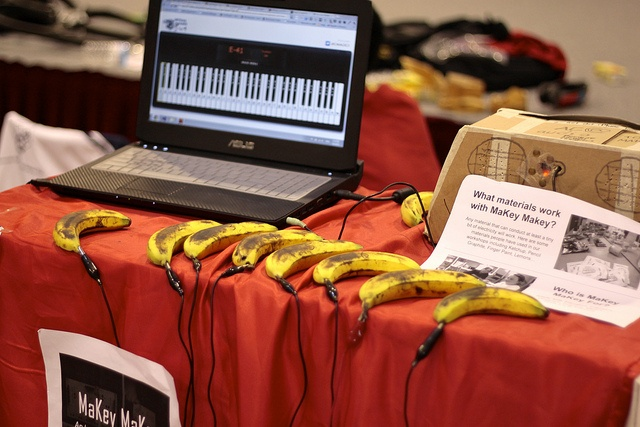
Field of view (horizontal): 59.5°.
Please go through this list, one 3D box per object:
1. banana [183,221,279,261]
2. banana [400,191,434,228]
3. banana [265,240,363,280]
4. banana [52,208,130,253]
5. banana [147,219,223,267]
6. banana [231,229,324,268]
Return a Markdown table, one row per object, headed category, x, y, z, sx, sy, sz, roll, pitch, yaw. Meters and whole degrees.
| category | x | y | z | sx | sy | sz | roll | pitch | yaw |
| --- | --- | --- | --- | --- | --- | --- | --- | --- | --- |
| banana | -0.218 | 0.040 | 1.346 | 0.171 | 0.043 | 0.086 | -14 | 28 | -39 |
| banana | 0.267 | -0.017 | 1.501 | 0.068 | 0.039 | 0.130 | 3 | 19 | 16 |
| banana | -0.024 | 0.082 | 1.285 | 0.160 | 0.040 | 0.091 | -10 | 23 | -26 |
| banana | -0.576 | 0.039 | 1.404 | 0.114 | 0.094 | 0.168 | 14 | 9 | 28 |
| banana | -0.350 | 0.062 | 1.325 | 0.085 | 0.049 | 0.191 | 19 | 27 | 28 |
| banana | -0.108 | 0.058 | 1.322 | 0.153 | 0.039 | 0.086 | -14 | 30 | -40 |
